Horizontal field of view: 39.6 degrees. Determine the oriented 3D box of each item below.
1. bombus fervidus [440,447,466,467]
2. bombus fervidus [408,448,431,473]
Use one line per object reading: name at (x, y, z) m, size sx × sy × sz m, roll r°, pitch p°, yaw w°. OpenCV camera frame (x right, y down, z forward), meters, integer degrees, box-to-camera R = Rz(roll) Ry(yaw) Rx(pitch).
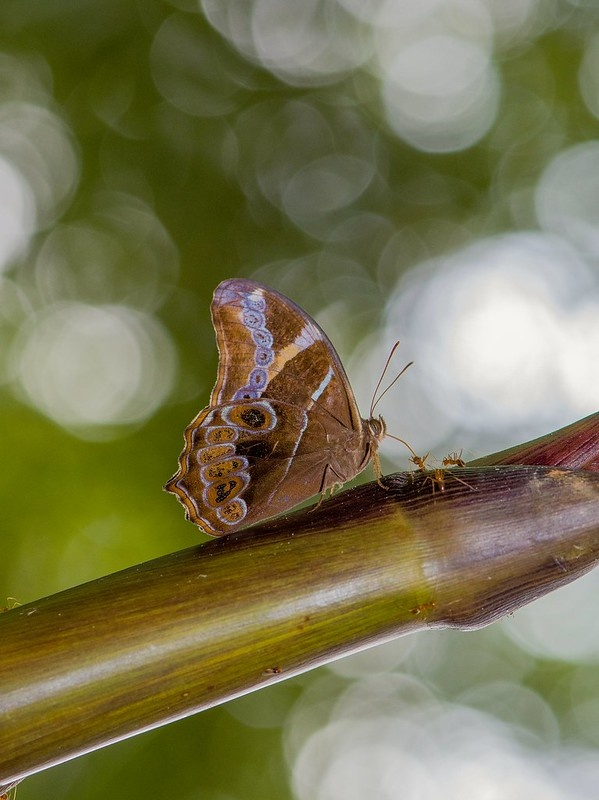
bombus fervidus at (0.249, 0.091, 1.326) m, size 0.033 × 0.017 × 0.041 m, roll 9°, pitch 1°, yaw -26°
bombus fervidus at (0.197, 0.096, 1.330) m, size 0.047 × 0.026 × 0.031 m, roll 7°, pitch -1°, yaw -27°
